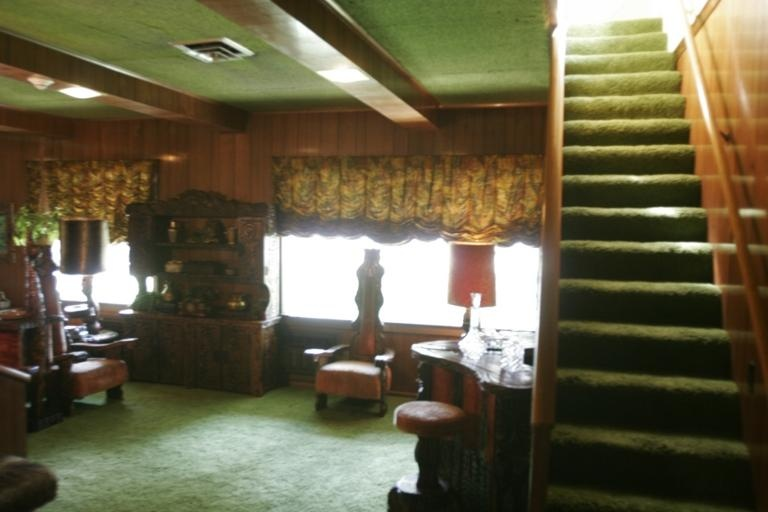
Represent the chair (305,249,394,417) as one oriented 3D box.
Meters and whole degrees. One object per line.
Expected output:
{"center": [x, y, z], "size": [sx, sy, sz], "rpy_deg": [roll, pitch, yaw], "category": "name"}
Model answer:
{"center": [-0.365, 0.898, 7.277], "size": [0.947, 1.894, 1.002], "rpy_deg": [1, 14, 3], "category": "chair"}
